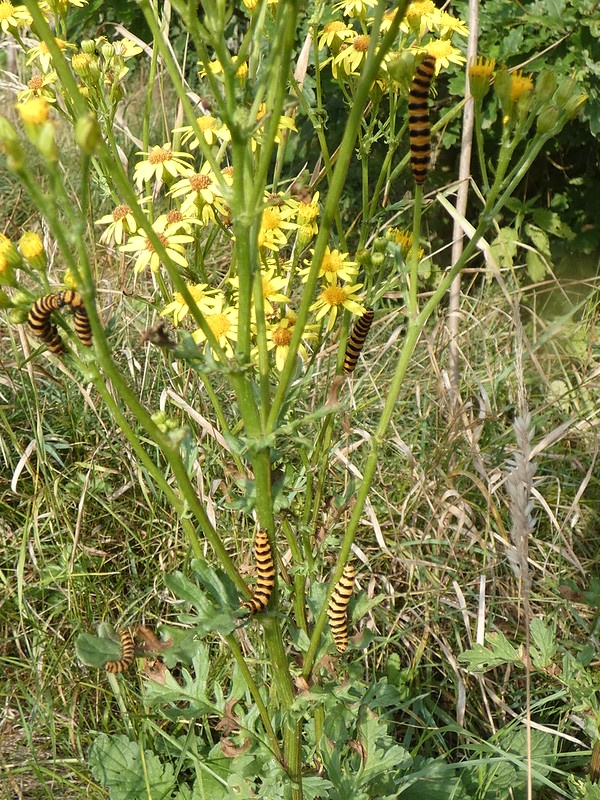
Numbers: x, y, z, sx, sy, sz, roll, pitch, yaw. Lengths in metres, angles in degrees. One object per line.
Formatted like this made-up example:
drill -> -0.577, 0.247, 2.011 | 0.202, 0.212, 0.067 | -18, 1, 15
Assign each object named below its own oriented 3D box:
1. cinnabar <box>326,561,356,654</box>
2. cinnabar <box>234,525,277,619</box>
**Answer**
cinnabar -> 0.068, 0.402, 1.509 | 0.060, 0.203, 0.055 | -1, 11, -18
cinnabar -> -0.069, 0.280, 1.259 | 0.052, 0.147, 0.044 | 12, 2, -25
